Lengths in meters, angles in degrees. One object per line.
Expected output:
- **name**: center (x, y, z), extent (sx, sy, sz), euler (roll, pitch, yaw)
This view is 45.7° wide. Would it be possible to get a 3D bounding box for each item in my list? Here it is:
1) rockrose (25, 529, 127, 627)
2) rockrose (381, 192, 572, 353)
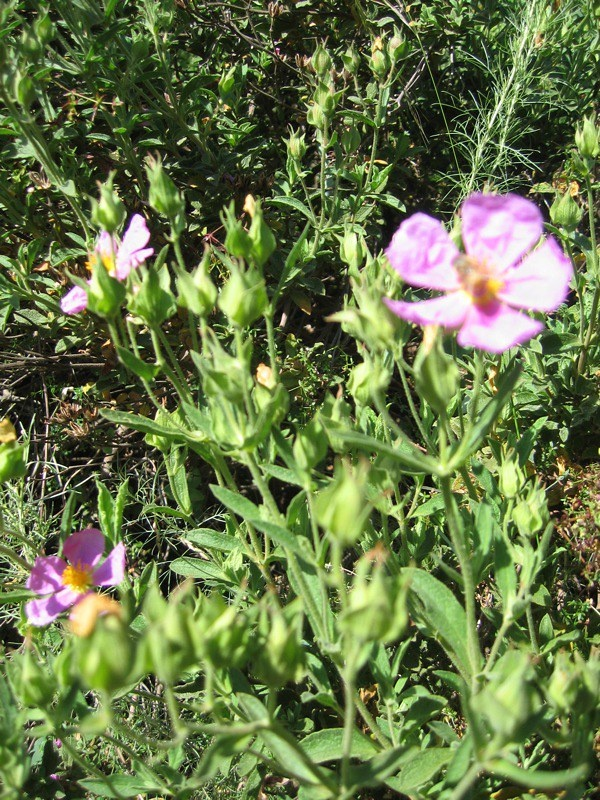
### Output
- **rockrose**: center (-0.513, 0.421, 1.641), extent (0.102, 0.259, 0.203), euler (52, 38, -24)
- **rockrose**: center (0.336, -0.231, 1.265), extent (0.396, 0.358, 0.139), euler (12, 87, -1)
